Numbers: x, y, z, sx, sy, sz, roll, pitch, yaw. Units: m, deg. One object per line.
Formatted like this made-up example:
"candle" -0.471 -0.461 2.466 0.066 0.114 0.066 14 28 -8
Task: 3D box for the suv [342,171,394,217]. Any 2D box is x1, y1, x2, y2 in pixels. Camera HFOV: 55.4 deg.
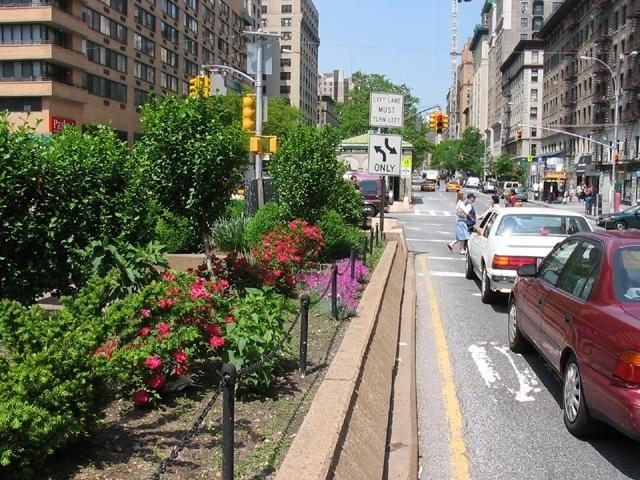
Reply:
"suv" 2.815 -2.695 35.230 3.037 2.155 2.135 -1 12 0
